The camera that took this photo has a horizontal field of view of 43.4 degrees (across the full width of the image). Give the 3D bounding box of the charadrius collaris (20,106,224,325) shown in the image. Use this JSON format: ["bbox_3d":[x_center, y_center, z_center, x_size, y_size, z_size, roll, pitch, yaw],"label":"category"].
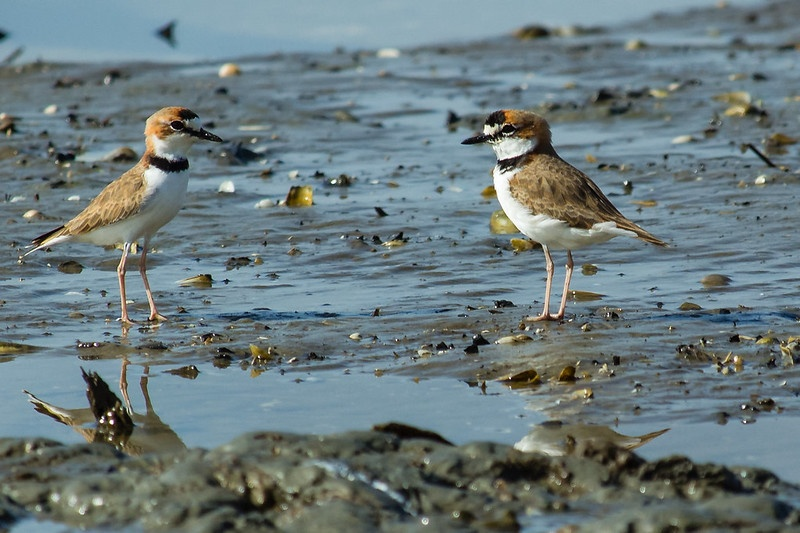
[{"bbox_3d":[-2.704,-0.560,10.523,1.730,2.172,0.813,-6,8,-8],"label":"charadrius collaris"}]
